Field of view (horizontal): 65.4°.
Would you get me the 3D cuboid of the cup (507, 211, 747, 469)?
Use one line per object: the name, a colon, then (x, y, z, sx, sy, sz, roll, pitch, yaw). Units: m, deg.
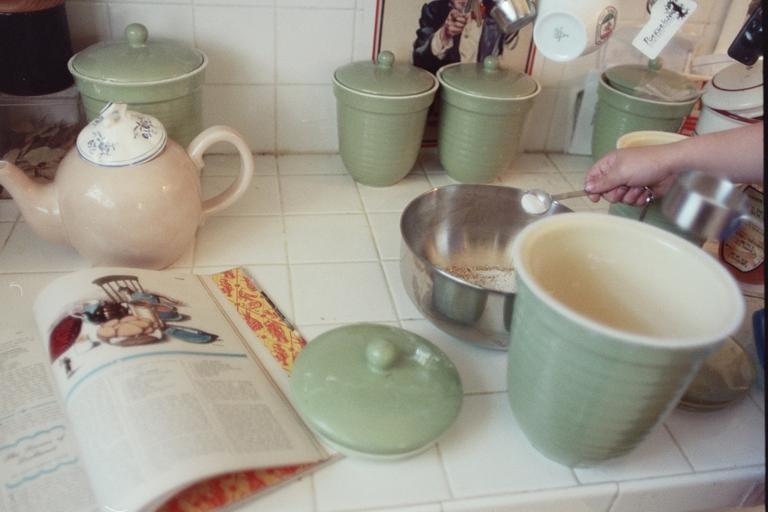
cup: (0.262, 0.106, 0.739, 0.200, 0.259, 0.212, 1, 42, -1)

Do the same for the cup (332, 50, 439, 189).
cup: (-0.034, -0.321, 1.309, 0.236, 0.278, 0.245, 4, 37, -3)

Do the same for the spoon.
spoon: (0.320, -0.092, 0.962, 0.230, 0.061, 0.032, -1, 10, 35)
